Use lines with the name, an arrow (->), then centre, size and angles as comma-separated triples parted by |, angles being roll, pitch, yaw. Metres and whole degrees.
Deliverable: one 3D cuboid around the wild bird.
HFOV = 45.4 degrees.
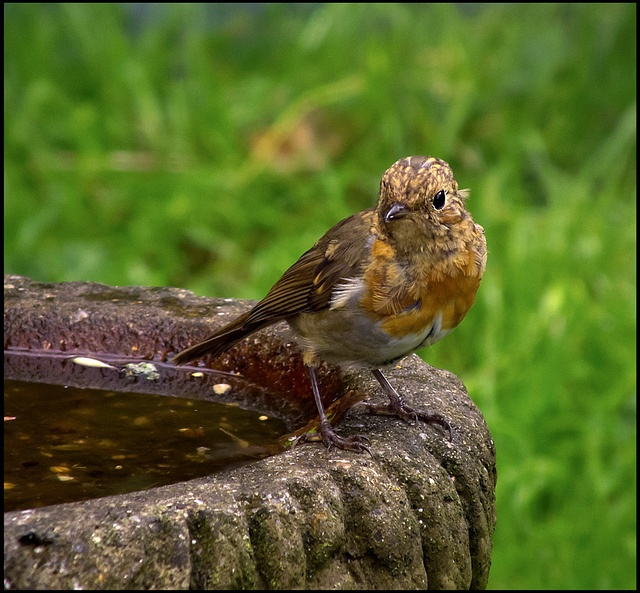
wild bird -> 0.076, -0.033, 3.030 | 0.585, 1.071, 1.392 | -9, 17, -33
